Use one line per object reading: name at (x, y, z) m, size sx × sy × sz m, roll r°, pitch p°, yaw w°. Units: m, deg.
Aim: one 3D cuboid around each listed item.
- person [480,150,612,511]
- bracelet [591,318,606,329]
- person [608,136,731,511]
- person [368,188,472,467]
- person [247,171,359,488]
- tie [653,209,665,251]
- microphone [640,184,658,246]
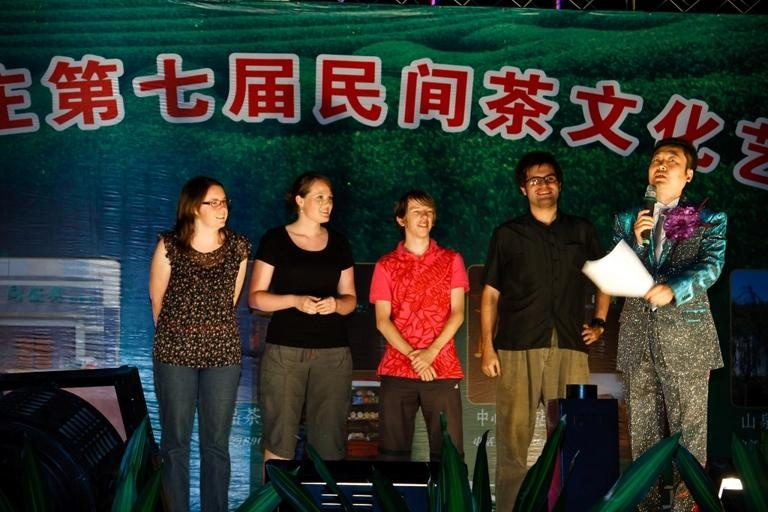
person at (0.924, 0.435, 4.064) m, size 0.685 × 2.083 × 0.399 m, roll 1°, pitch 3°, yaw 15°
bracelet at (1.278, 0.399, 4.143) m, size 0.068 × 0.044 × 0.084 m, roll 5°, pitch -1°, yaw 7°
person at (1.521, 0.382, 3.703) m, size 0.563 × 2.041 × 0.569 m, roll 1°, pitch 3°, yaw 15°
person at (0.208, 0.391, 4.078) m, size 0.575 × 1.560 × 0.364 m, roll 1°, pitch 2°, yaw -2°
person at (-0.478, 0.338, 4.070) m, size 0.607 × 1.653 × 0.376 m, roll 1°, pitch 2°, yaw -4°
tie at (1.497, -0.129, 3.767) m, size 0.050 × 0.196 × 0.043 m, roll 6°, pitch -4°, yaw 20°
microphone at (1.442, -0.228, 3.759) m, size 0.063 × 0.308 × 0.273 m, roll 2°, pitch 2°, yaw 22°
